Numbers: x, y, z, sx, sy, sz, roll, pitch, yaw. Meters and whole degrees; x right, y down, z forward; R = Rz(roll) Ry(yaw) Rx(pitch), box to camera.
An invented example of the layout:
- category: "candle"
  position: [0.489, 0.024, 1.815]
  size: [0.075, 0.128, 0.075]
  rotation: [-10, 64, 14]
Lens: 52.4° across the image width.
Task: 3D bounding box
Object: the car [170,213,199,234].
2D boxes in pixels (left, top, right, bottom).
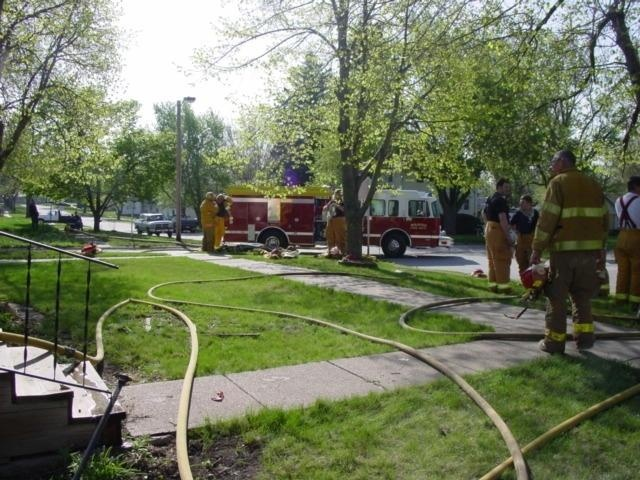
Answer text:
- category: "car"
  position: [-9.294, -1.039, 45.278]
  size: [1.191, 1.031, 2.633]
  rotation: [-1, 0, -23]

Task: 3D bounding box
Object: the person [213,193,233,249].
- category: "person"
  position: [-3.404, -0.613, 22.833]
  size: [0.694, 2.645, 0.808]
  rotation: [-1, 25, -8]

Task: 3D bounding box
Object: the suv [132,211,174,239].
- category: "suv"
  position: [-10.273, -0.925, 39.763]
  size: [1.442, 1.321, 3.050]
  rotation: [-2, 0, -30]

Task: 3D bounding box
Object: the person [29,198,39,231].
- category: "person"
  position: [-12.746, -1.057, 28.960]
  size: [0.279, 1.150, 2.066]
  rotation: [1, 1, -27]

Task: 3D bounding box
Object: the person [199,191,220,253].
- category: "person"
  position: [-3.617, -0.544, 21.227]
  size: [0.486, 1.933, 0.925]
  rotation: [1, 1, -10]

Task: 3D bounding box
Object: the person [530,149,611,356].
- category: "person"
  position: [3.552, 0.150, 9.105]
  size: [0.894, 2.896, 0.663]
  rotation: [1, 1, -2]

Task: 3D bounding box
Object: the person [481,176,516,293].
- category: "person"
  position: [3.672, -0.083, 13.350]
  size: [0.598, 1.600, 0.902]
  rotation: [2, 1, 14]
